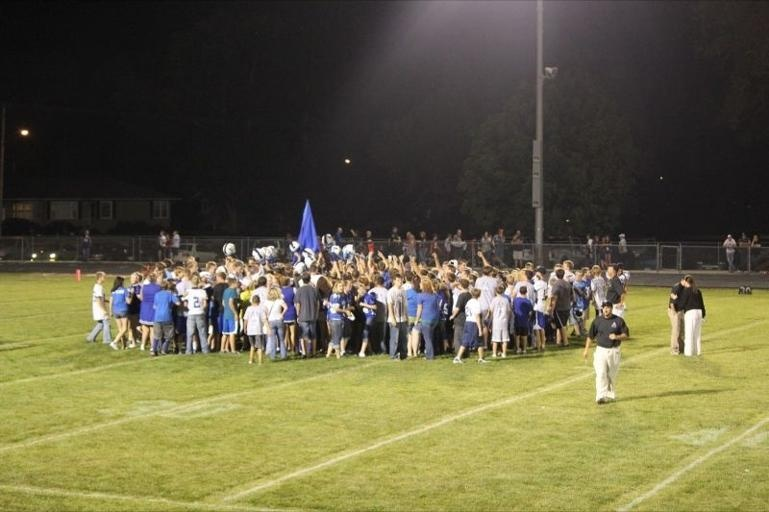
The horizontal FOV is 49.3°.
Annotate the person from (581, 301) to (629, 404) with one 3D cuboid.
[{"bbox_3d":[4.875,2.109,18.451,0.812,2.189,0.716,2,11,15],"label":"person"}]

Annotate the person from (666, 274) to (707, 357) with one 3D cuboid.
[{"bbox_3d":[8.171,1.560,22.759,0.859,2.247,1.158,3,11,19],"label":"person"}]

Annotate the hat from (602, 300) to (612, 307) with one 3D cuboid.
[{"bbox_3d":[4.907,1.054,18.462,0.247,0.114,0.358,-3,-6,26],"label":"hat"}]

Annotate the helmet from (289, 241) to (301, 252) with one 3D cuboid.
[{"bbox_3d":[-2.910,-0.317,28.541,0.351,0.153,0.415,36,16,-11],"label":"helmet"}]
